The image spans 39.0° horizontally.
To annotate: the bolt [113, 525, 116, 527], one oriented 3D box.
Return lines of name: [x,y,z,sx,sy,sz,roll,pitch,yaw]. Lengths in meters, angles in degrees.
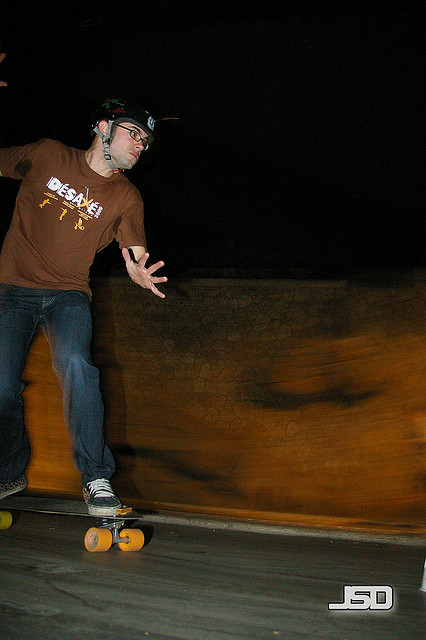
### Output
bolt: [-0.332,0.701,2.041,0.010,0.006,0.001,0,-9,18]

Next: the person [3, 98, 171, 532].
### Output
person: [-0.558,-0.084,2.370,0.645,1.616,0.382,2,-8,6]

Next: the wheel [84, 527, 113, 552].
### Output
wheel: [-0.380,0.740,2.019,0.071,0.086,0.081,10,-11,-43]

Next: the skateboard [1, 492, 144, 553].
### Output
skateboard: [-0.586,0.732,2.261,0.320,0.146,0.772,8,-9,-38]
